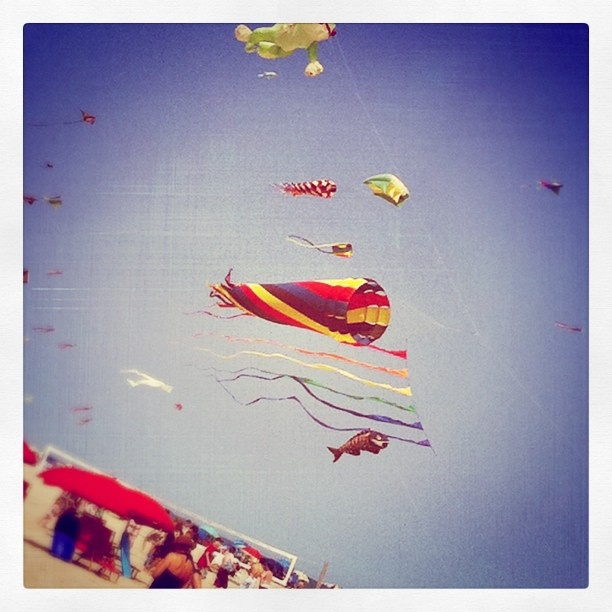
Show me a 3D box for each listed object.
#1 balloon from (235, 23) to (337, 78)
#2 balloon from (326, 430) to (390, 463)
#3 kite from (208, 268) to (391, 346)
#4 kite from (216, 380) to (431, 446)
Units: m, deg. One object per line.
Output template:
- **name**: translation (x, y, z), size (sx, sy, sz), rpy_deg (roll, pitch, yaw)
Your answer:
- **balloon**: translation (-0.056, -0.766, 2.536), size (0.246, 0.159, 0.106), rpy_deg (-29, 7, 2)
- **balloon**: translation (0.153, 0.414, 2.467), size (0.198, 0.074, 0.041), rpy_deg (-14, 12, -2)
- **kite**: translation (0.037, 0.002, 2.565), size (0.668, 0.210, 0.199), rpy_deg (5, -2, 11)
- **kite**: translation (0.055, 0.307, 2.473), size (0.641, 0.198, 0.008), rpy_deg (1, 0, 0)
